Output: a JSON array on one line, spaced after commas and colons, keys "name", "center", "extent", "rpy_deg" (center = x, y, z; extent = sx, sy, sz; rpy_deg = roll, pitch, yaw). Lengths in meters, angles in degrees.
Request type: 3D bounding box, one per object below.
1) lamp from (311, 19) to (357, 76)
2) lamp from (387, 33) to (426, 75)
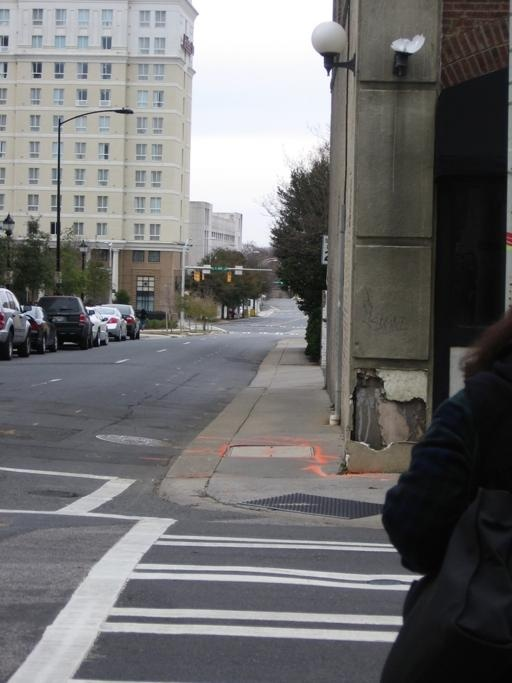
[{"name": "lamp", "center": [0.844, -3.218, 10.057], "extent": [0.456, 0.701, 0.416], "rpy_deg": [-3, -15, 11]}, {"name": "lamp", "center": [1.417, -2.786, 8.887], "extent": [0.280, 0.377, 0.250], "rpy_deg": [6, 8, -10]}]
